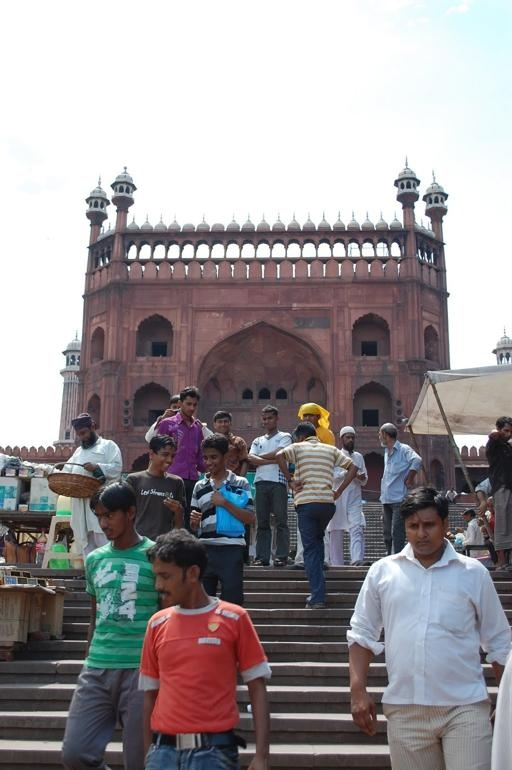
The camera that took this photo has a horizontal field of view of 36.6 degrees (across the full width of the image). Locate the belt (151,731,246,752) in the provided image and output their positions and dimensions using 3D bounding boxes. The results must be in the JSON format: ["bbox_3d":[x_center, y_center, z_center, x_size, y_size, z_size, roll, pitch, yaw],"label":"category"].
[{"bbox_3d":[-0.150,0.858,1.887,0.194,0.043,0.060,-1,-12,1],"label":"belt"}]

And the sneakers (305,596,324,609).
[{"bbox_3d":[0.359,1.337,4.789,0.117,0.060,0.070,-5,-13,19],"label":"sneakers"}]
